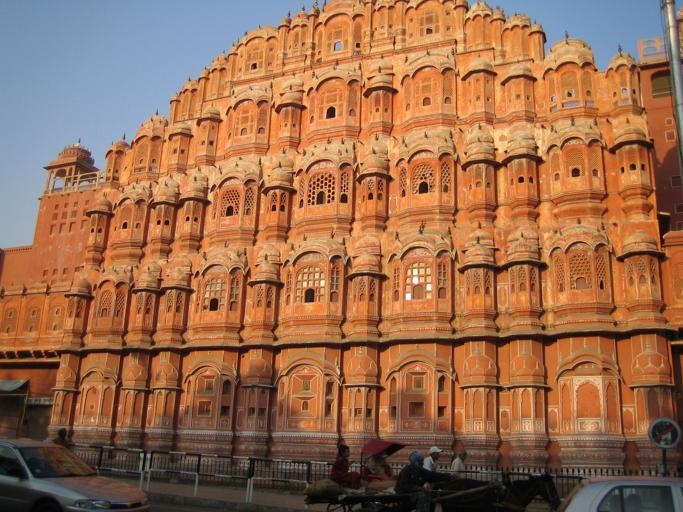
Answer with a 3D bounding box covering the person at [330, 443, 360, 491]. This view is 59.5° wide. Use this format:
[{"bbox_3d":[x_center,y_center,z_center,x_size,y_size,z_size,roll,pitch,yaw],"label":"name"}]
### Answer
[{"bbox_3d":[0.056,4.597,12.777,0.745,1.273,0.561,0,-30,0],"label":"person"}]
